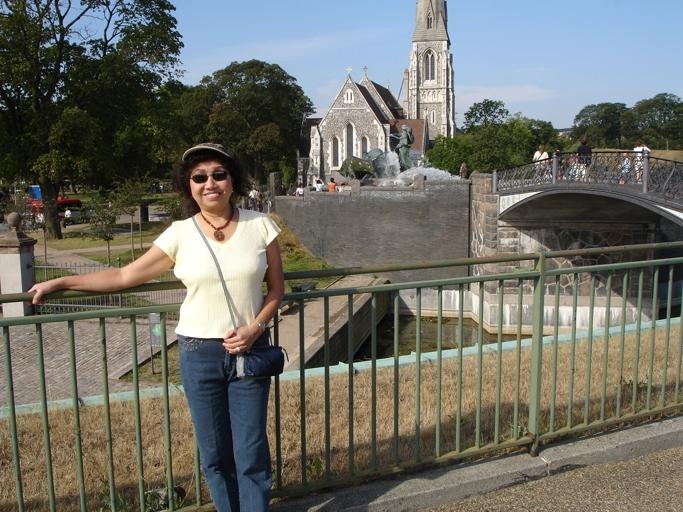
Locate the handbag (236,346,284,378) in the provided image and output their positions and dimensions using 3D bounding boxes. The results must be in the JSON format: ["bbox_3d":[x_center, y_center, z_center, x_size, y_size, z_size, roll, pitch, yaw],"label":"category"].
[{"bbox_3d":[-0.408,0.563,3.278,0.153,0.087,0.205,0,4,4],"label":"handbag"}]

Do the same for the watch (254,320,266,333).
[{"bbox_3d":[-0.430,0.356,3.243,0.061,0.062,0.040,-40,21,6],"label":"watch"}]

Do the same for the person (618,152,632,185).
[{"bbox_3d":[7.704,-2.380,16.916,0.277,0.787,0.879,0,4,24],"label":"person"}]
